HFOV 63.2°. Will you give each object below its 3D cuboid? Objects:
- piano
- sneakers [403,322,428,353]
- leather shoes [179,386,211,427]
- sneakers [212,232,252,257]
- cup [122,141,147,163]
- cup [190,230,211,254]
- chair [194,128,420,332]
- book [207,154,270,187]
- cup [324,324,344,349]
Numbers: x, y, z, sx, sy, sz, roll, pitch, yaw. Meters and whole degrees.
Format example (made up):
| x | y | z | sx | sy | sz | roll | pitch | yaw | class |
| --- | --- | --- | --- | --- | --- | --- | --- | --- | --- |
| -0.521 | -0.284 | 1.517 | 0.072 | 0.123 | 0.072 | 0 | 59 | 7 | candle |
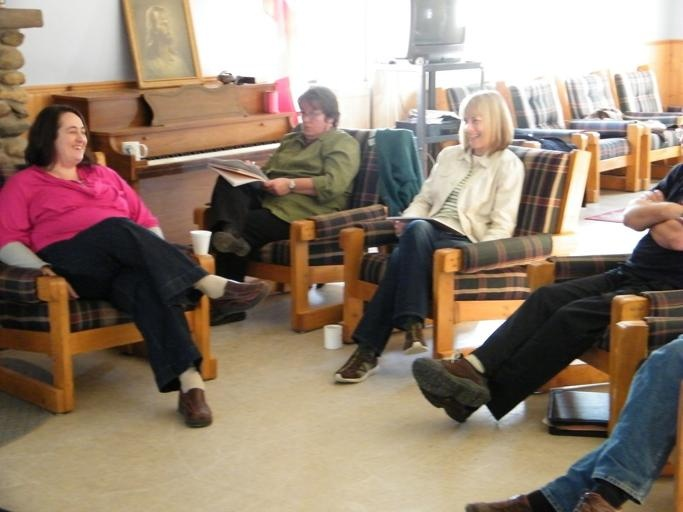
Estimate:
| x | y | z | sx | sy | sz | roll | pitch | yaw | class |
| --- | --- | --- | --- | --- | --- | --- | --- | --- | --- |
| -1.213 | -0.802 | 4.752 | 1.134 | 1.157 | 1.891 | 9 | 23 | 26 | piano |
| 0.334 | 0.384 | 2.524 | 0.135 | 0.149 | 0.292 | -2 | -19 | 7 | sneakers |
| -0.585 | 0.614 | 2.240 | 0.094 | 0.070 | 0.214 | -5 | 7 | -30 | leather shoes |
| -0.612 | -0.072 | 3.165 | 0.248 | 0.096 | 0.082 | 17 | 12 | -9 | sneakers |
| -1.475 | -0.756 | 3.973 | 0.244 | 0.125 | 0.127 | 6 | 4 | -9 | cup |
| -0.663 | -0.071 | 2.685 | 0.148 | 0.102 | 0.124 | -1 | 2 | -9 | cup |
| -0.388 | -0.184 | 3.642 | 1.534 | 1.057 | 1.411 | -12 | 14 | -32 | chair |
| -0.589 | -0.490 | 3.210 | 0.267 | 0.073 | 0.246 | -2 | 16 | -43 | book |
| -0.049 | 0.421 | 2.902 | 0.152 | 0.111 | 0.124 | 0 | 1 | -6 | cup |
